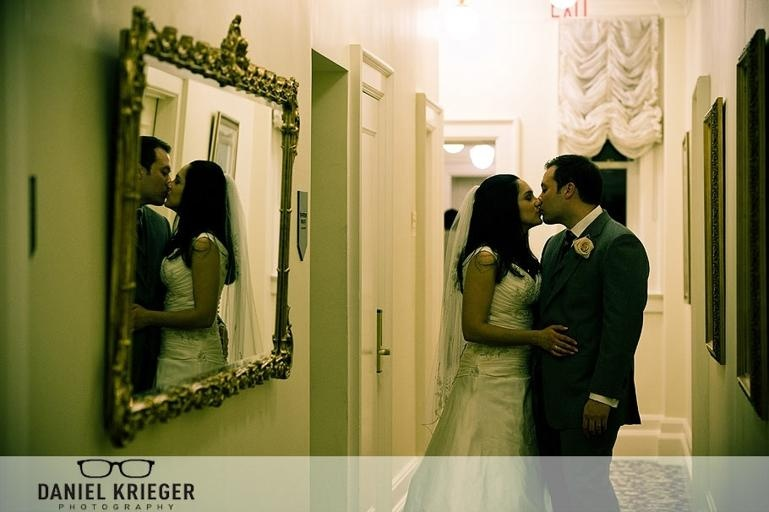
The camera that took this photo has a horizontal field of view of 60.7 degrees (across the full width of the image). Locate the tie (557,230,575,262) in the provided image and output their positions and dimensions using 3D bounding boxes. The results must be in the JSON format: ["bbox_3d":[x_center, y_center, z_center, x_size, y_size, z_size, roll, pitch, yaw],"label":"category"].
[{"bbox_3d":[0.902,-0.050,3.261,0.054,0.048,0.216,-12,23,18],"label":"tie"}]

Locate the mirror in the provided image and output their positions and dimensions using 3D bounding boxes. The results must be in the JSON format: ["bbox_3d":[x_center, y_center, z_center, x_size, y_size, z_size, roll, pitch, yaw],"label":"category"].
[{"bbox_3d":[-0.631,-0.138,2.430,0.237,1.491,0.839,-3,-3,26],"label":"mirror"}]

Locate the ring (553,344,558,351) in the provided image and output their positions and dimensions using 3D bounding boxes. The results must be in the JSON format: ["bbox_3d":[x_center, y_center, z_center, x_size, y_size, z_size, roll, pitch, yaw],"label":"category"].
[{"bbox_3d":[0.815,0.432,3.124,0.024,0.025,0.008,5,0,32],"label":"ring"}]
